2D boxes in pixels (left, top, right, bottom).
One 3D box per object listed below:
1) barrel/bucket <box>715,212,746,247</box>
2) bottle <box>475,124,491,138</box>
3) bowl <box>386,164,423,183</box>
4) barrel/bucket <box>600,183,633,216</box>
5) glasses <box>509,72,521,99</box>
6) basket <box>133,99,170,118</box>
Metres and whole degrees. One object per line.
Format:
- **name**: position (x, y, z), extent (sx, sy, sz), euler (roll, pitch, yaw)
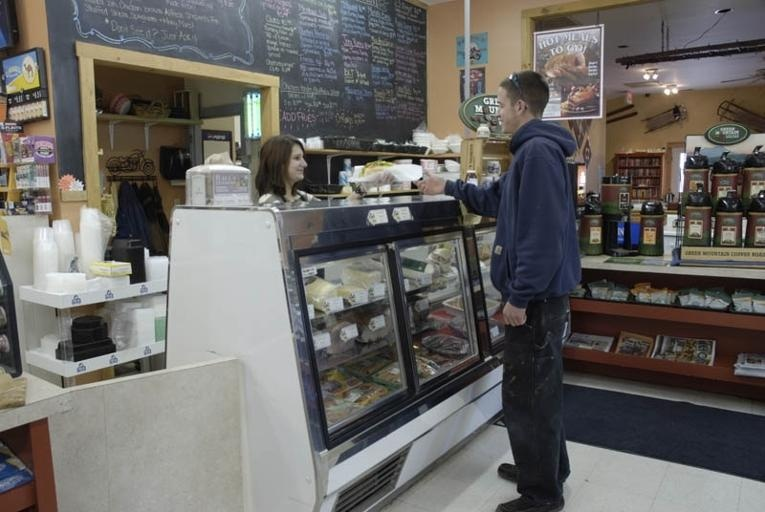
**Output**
- **barrel/bucket**: position (2.934, -0.228, 4.383), extent (0.217, 0.295, 0.155), euler (8, 17, 31)
- **bottle**: position (0.845, -1.040, 4.351), extent (0.126, 0.112, 0.123), euler (-1, 3, 8)
- **bowl**: position (0.151, -0.543, 3.418), extent (0.141, 0.063, 0.165), euler (-4, 4, -37)
- **barrel/bucket**: position (2.246, -0.533, 4.985), extent (0.302, 0.313, 0.297), euler (-1, 2, 0)
- **glasses**: position (0.815, -1.025, 3.106), extent (0.034, 0.119, 0.097), euler (-17, 20, -24)
- **basket**: position (-2.814, -1.767, 6.299), extent (0.233, 0.152, 0.348), euler (11, 8, 41)
